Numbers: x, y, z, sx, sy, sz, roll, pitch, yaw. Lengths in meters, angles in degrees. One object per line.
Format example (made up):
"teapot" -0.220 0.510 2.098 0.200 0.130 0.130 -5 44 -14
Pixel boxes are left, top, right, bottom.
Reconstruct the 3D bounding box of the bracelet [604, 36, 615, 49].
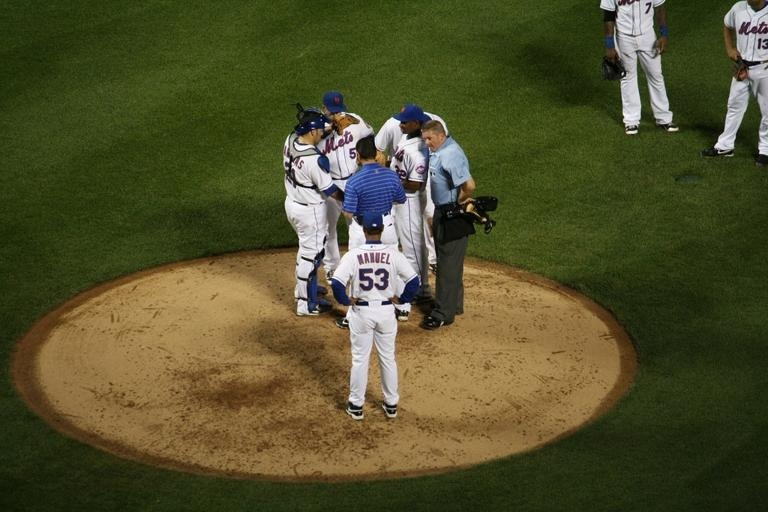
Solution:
"bracelet" 4.541 -4.338 18.981 0.165 0.252 0.334 0 37 12

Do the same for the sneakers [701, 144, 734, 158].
"sneakers" 6.537 -2.059 18.593 0.600 0.232 0.229 7 33 2

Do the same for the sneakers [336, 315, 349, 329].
"sneakers" -0.698 1.074 15.488 0.322 0.138 0.131 10 21 20

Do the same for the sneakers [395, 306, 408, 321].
"sneakers" 0.289 0.955 15.568 0.132 0.143 0.298 1 39 -4

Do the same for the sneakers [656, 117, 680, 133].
"sneakers" 5.858 -2.709 19.444 0.566 0.213 0.208 25 49 32

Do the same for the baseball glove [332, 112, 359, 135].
"baseball glove" -0.652 -2.198 15.468 0.421 0.155 0.275 -25 44 -35

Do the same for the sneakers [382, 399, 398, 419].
"sneakers" 0.084 2.295 14.152 0.135 0.142 0.336 0 20 -6

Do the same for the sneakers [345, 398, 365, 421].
"sneakers" -0.446 2.300 14.132 0.161 0.174 0.374 -3 22 -16

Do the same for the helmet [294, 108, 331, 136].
"helmet" -1.206 -2.175 15.094 0.525 0.322 0.373 -23 25 -8

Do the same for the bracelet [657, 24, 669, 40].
"bracelet" 5.569 -4.494 18.825 0.131 0.224 0.378 -2 36 10

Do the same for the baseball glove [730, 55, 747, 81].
"baseball glove" 6.752 -3.569 17.848 0.230 0.392 0.255 1 38 14

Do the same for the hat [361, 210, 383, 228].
"hat" -0.173 -0.560 13.747 0.215 0.164 0.290 0 25 0

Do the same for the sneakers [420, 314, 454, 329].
"sneakers" 0.902 1.072 15.481 0.621 0.208 0.256 -4 -8 7
